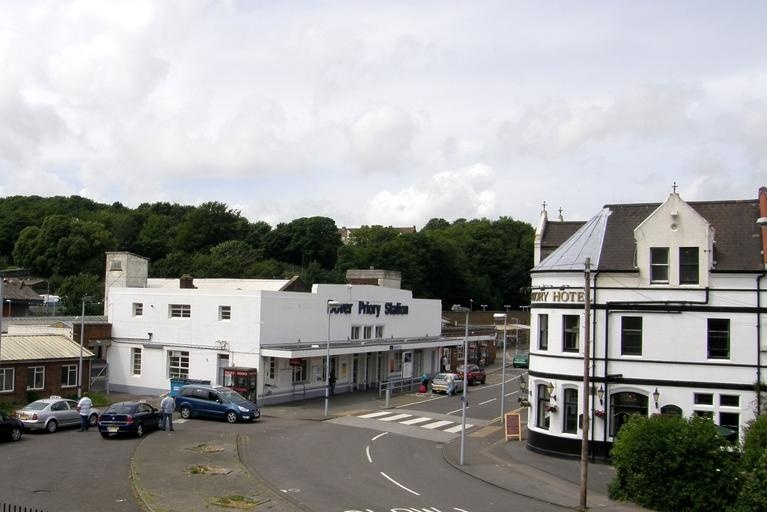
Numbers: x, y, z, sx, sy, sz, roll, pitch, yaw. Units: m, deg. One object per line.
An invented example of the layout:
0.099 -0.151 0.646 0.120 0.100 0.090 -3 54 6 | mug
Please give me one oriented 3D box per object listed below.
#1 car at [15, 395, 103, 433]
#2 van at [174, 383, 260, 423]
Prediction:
-20.300 9.936 57.408 2.337 1.788 5.544 -1 -4 29 | car
-11.076 9.766 61.260 5.669 2.039 2.699 1 1 18 | van
